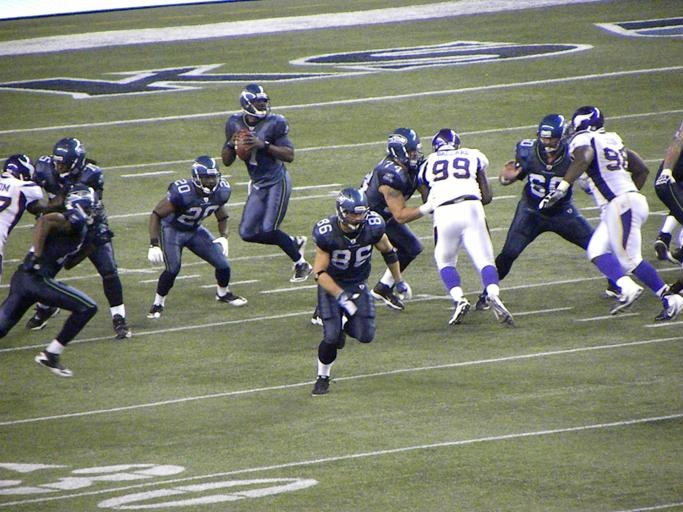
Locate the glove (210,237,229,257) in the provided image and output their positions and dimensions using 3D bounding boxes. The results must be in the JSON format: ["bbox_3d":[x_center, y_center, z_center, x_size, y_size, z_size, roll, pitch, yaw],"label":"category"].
[{"bbox_3d":[-1.404,-0.104,12.791,0.113,0.201,0.178,-22,-15,9],"label":"glove"}]

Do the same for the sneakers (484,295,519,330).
[{"bbox_3d":[1.686,0.629,11.727,0.250,0.518,0.163,-30,35,27],"label":"sneakers"}]

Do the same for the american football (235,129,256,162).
[{"bbox_3d":[-1.129,-1.283,13.062,0.204,0.379,0.260,-4,17,-5],"label":"american football"}]

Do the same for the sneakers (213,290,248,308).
[{"bbox_3d":[-1.256,0.493,12.837,0.401,0.122,0.145,6,26,15],"label":"sneakers"}]

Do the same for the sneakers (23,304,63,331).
[{"bbox_3d":[-3.242,0.683,12.219,0.474,0.128,0.199,-27,3,-1],"label":"sneakers"}]

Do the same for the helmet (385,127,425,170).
[{"bbox_3d":[0.737,-1.200,12.165,0.568,0.423,0.368,11,31,-1],"label":"helmet"}]

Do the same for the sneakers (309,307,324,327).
[{"bbox_3d":[-0.270,0.688,12.089,0.200,0.181,0.246,3,40,1],"label":"sneakers"}]

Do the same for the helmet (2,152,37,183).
[{"bbox_3d":[-3.373,-0.921,11.885,0.406,0.288,0.284,-6,3,-22],"label":"helmet"}]

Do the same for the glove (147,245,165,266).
[{"bbox_3d":[-2.046,-0.014,12.408,0.201,0.076,0.205,-1,48,-7],"label":"glove"}]

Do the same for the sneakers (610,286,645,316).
[{"bbox_3d":[2.964,0.454,11.792,0.174,0.204,0.474,-35,-8,-21],"label":"sneakers"}]

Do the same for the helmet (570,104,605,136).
[{"bbox_3d":[2.651,-1.515,12.318,0.421,0.287,0.341,9,9,24],"label":"helmet"}]

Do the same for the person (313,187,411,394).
[{"bbox_3d":[0.078,0.273,11.071,0.586,1.937,1.422,5,18,23],"label":"person"}]

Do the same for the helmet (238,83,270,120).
[{"bbox_3d":[-1.017,-1.821,13.201,0.309,0.395,0.254,-3,17,-1],"label":"helmet"}]

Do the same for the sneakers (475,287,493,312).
[{"bbox_3d":[1.551,0.517,12.324,0.186,0.210,0.238,2,23,1],"label":"sneakers"}]

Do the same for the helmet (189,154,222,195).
[{"bbox_3d":[-1.495,-0.881,12.357,0.298,0.418,0.273,-5,17,-7],"label":"helmet"}]

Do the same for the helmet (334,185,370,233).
[{"bbox_3d":[0.060,-0.489,10.825,0.383,0.352,0.426,-5,34,-13],"label":"helmet"}]

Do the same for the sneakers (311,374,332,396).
[{"bbox_3d":[-0.202,1.264,10.742,0.145,0.081,0.220,3,5,7],"label":"sneakers"}]

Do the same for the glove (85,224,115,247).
[{"bbox_3d":[-2.503,-0.219,11.673,0.242,0.094,0.272,8,14,5],"label":"glove"}]

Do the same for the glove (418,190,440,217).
[{"bbox_3d":[0.911,-0.526,11.955,0.255,0.260,0.088,3,46,-2],"label":"glove"}]

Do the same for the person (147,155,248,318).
[{"bbox_3d":[-1.740,-0.242,12.631,1.208,1.780,0.729,-12,20,-30],"label":"person"}]

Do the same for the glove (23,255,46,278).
[{"bbox_3d":[-3.043,0.092,11.063,0.221,0.248,0.118,-6,18,-12],"label":"glove"}]

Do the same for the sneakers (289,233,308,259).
[{"bbox_3d":[-0.509,-0.150,13.576,0.141,0.131,0.346,-5,16,-8],"label":"sneakers"}]

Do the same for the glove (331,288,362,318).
[{"bbox_3d":[0.057,0.450,10.793,0.256,0.243,0.164,7,-15,-8],"label":"glove"}]

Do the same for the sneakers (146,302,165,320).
[{"bbox_3d":[-2.076,0.628,12.596,0.105,0.105,0.251,30,3,-14],"label":"sneakers"}]
